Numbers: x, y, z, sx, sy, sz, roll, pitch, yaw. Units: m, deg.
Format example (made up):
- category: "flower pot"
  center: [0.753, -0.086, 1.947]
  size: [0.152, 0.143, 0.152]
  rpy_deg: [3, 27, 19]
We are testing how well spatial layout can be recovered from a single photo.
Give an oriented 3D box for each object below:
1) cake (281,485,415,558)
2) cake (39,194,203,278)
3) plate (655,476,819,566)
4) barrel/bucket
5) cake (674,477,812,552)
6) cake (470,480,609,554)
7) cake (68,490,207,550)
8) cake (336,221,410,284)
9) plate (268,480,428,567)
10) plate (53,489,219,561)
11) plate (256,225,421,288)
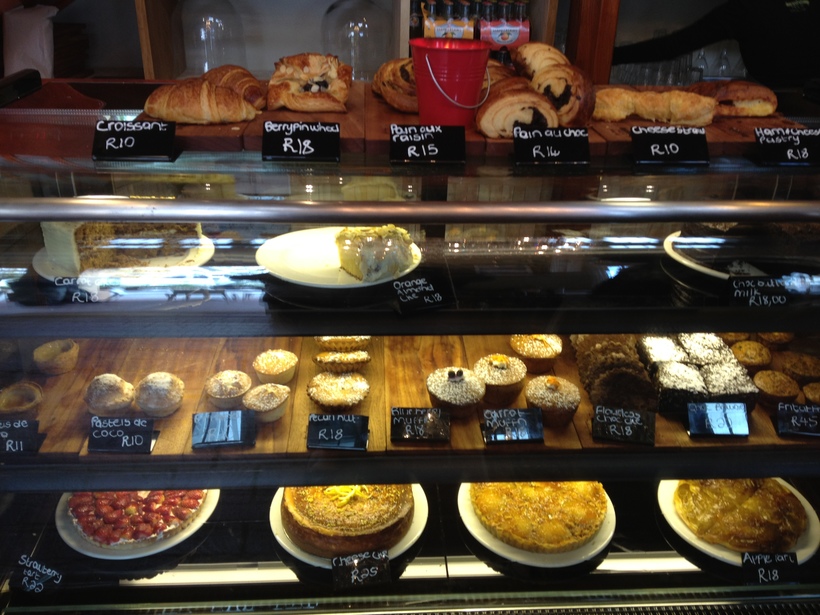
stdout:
- category: "cake"
  center: [-0.173, 0.515, 1.396]
  size: [0.262, 0.055, 0.252]
  rpy_deg: [4, 10, 22]
- category: "cake"
  center: [-0.576, -0.120, 1.116]
  size: [0.220, 0.070, 0.209]
  rpy_deg: [13, 32, 20]
- category: "plate"
  center: [0.898, 0.608, 1.491]
  size: [0.366, 0.054, 0.338]
  rpy_deg: [-3, 24, -3]
- category: "barrel/bucket"
  center: [0.097, -0.473, 1.198]
  size: [0.182, 0.137, 0.170]
  rpy_deg: [4, 25, -2]
- category: "cake"
  center: [0.873, 0.546, 1.463]
  size: [0.249, 0.054, 0.247]
  rpy_deg: [15, 25, 40]
- category: "cake"
  center: [0.348, 0.544, 1.492]
  size: [0.353, 0.073, 0.351]
  rpy_deg: [0, 10, 29]
- category: "cake"
  center: [-0.734, 0.537, 1.475]
  size: [0.276, 0.053, 0.271]
  rpy_deg: [26, 6, 37]
- category: "cake"
  center: [-0.080, -0.135, 1.181]
  size: [0.176, 0.071, 0.207]
  rpy_deg: [-8, 26, -12]
- category: "plate"
  center: [-0.171, 0.545, 1.511]
  size: [0.362, 0.076, 0.361]
  rpy_deg: [12, 14, 24]
- category: "plate"
  center: [-0.724, 0.547, 1.460]
  size: [0.328, 0.059, 0.307]
  rpy_deg: [1, 19, -5]
- category: "plate"
  center: [-0.193, -0.093, 1.142]
  size: [0.199, 0.027, 0.194]
  rpy_deg: [-4, 24, -17]
